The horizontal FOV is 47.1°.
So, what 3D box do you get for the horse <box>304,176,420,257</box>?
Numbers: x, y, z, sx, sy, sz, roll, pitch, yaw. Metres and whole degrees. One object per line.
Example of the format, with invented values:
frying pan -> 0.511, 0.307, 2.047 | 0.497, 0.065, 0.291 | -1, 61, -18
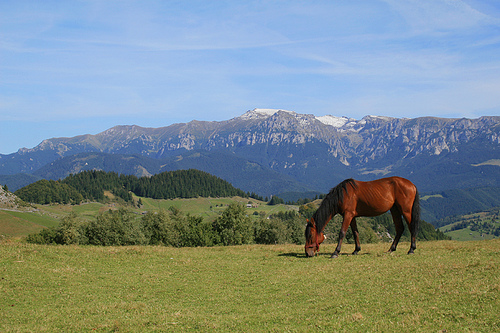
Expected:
horse -> 12.930, 6.082, 66.798 | 13.989, 8.729, 3.643 | -4, -1, -9
